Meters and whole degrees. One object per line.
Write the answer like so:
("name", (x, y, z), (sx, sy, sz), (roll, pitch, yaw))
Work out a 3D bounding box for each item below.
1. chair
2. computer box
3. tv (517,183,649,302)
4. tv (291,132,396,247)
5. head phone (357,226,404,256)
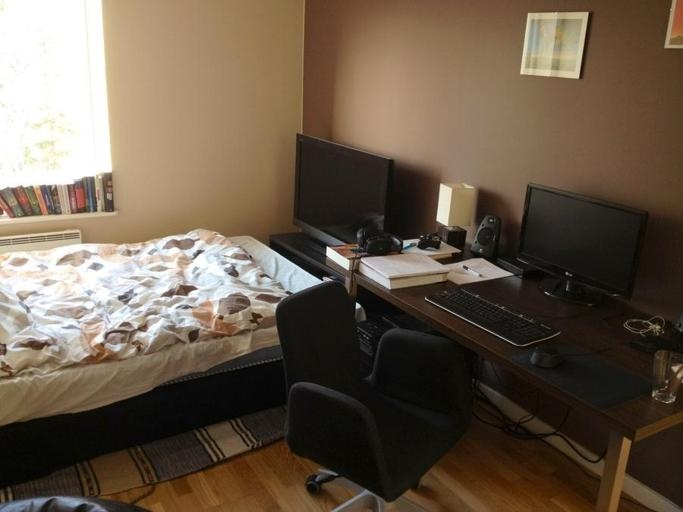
("chair", (0.145, 0.597, 2.068), (0.625, 0.879, 0.681), (17, 28, 40))
("computer box", (0.478, 0.510, 3.238), (0.254, 0.326, 0.488), (1, 6, 15))
("tv", (1.124, -0.058, 2.292), (0.139, 0.353, 0.464), (-10, 23, -27))
("tv", (0.038, -0.474, 3.572), (0.216, 0.571, 0.788), (-6, 25, -32))
("head phone", (0.199, -0.089, 2.611), (0.200, 0.094, 0.145), (21, 11, 38))
